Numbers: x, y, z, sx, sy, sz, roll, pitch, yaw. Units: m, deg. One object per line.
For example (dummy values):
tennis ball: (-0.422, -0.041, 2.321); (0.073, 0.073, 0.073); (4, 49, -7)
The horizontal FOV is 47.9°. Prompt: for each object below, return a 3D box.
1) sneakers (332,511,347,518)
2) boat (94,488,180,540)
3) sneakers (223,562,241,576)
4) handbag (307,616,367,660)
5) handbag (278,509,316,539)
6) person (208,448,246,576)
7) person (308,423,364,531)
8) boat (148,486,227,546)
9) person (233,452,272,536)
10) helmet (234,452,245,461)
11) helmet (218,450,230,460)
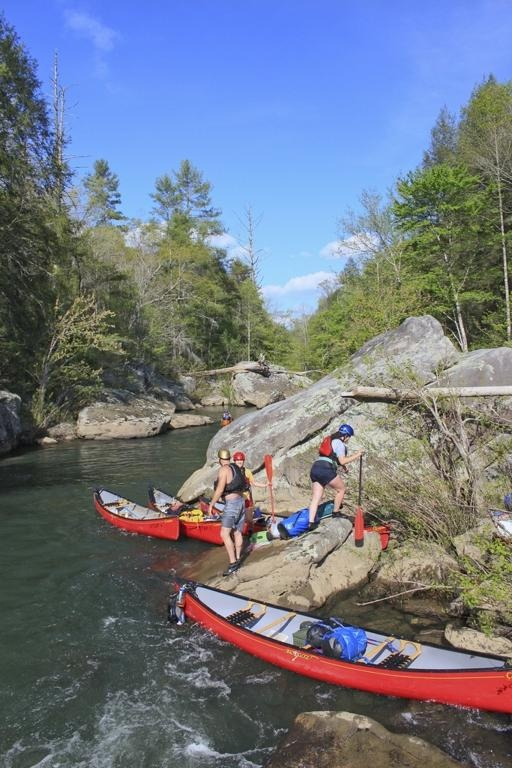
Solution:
sneakers: (1.384, 2.218, 9.750); (0.266, 0.113, 0.089); (1, 5, -6)
boat: (-2.703, 2.880, 12.545); (0.770, 0.656, 3.210); (2, 0, -37)
sneakers: (-0.406, 2.976, 9.225); (0.280, 0.154, 0.357); (-7, 10, 1)
handbag: (0.906, 2.874, 6.524); (0.353, 0.208, 0.484); (-3, -13, 40)
handbag: (0.643, 2.390, 9.796); (0.638, 0.360, 0.251); (-20, 2, -3)
person: (-0.443, 2.078, 9.460); (0.510, 1.997, 0.950); (-5, 11, 11)
person: (1.409, 1.685, 10.005); (0.848, 1.811, 0.705); (-20, 45, -34)
boat: (-1.549, 2.799, 12.455); (0.649, 0.628, 2.979); (4, -2, -30)
person: (-0.091, 2.075, 10.370); (0.642, 1.643, 0.545); (-10, 8, 7)
helmet: (-0.314, 1.247, 9.911); (0.180, 0.135, 0.265); (1, -5, -10)
helmet: (-0.533, 1.165, 9.525); (0.153, 0.167, 0.201); (1, 11, -4)
